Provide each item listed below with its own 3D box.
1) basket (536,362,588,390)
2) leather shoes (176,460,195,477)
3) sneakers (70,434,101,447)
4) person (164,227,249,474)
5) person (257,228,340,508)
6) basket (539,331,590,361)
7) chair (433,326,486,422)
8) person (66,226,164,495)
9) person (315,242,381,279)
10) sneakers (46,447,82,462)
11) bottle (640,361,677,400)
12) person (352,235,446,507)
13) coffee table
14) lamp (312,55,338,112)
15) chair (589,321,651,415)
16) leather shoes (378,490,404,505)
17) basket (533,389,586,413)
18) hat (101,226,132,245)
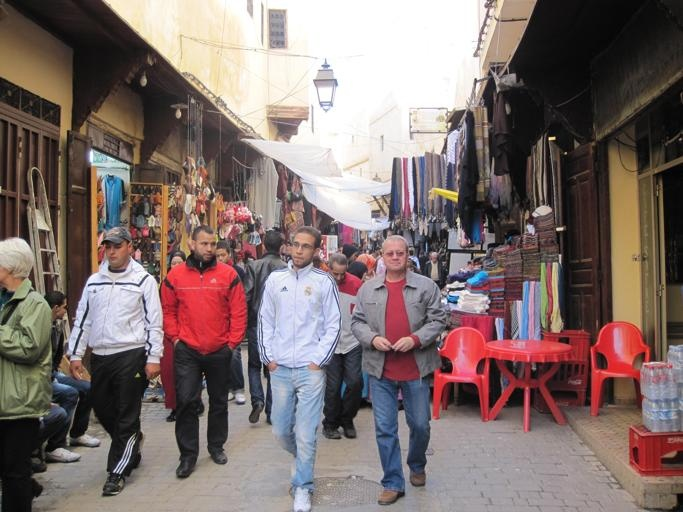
[{"bbox_3d":[2.975,1.467,8.042,0.506,0.462,0.314,0,-2,3],"label":"basket"},{"bbox_3d":[-1.493,1.982,5.839,0.148,0.143,0.281,0,2,4],"label":"leather shoes"},{"bbox_3d":[-2.760,1.974,6.621,0.312,0.149,0.125,1,-3,-4],"label":"sneakers"},{"bbox_3d":[-1.371,0.868,6.115,0.815,2.355,0.614,-1,2,-24],"label":"person"},{"bbox_3d":[-0.425,0.916,5.462,0.711,2.359,0.664,1,2,33],"label":"person"},{"bbox_3d":[3.008,1.129,8.052,0.362,0.267,0.393,-1,-1,16],"label":"basket"},{"bbox_3d":[1.534,1.465,7.918,0.679,1.189,0.810,2,-7,6],"label":"chair"},{"bbox_3d":[-2.037,0.892,5.757,0.616,2.321,0.640,-1,2,-35],"label":"person"},{"bbox_3d":[0.078,0.042,11.756,0.806,0.607,1.164,4,-3,3],"label":"person"},{"bbox_3d":[-2.796,1.983,6.151,0.313,0.148,0.134,2,-2,-3],"label":"sneakers"},{"bbox_3d":[2.845,1.123,5.589,0.265,0.305,0.284,0,-4,-2],"label":"bottle"},{"bbox_3d":[0.507,1.075,5.463,0.843,2.009,0.568,0,1,0],"label":"person"},{"bbox_3d":[2.275,1.539,7.587,0.904,0.892,0.980,1,-2,-8],"label":"coffee table"},{"bbox_3d":[-0.363,-3.387,12.162,0.438,0.985,1.107,0,2,-3],"label":"lamp"},{"bbox_3d":[3.401,1.345,7.506,0.793,1.051,0.621,0,2,7],"label":"chair"},{"bbox_3d":[0.402,2.057,5.259,0.082,0.113,0.240,-5,-13,34],"label":"leather shoes"},{"bbox_3d":[2.935,1.825,8.118,0.378,0.291,0.414,-1,-3,-1],"label":"basket"},{"bbox_3d":[-2.142,-0.203,5.787,0.232,0.153,0.283,-1,2,-22],"label":"hat"}]
